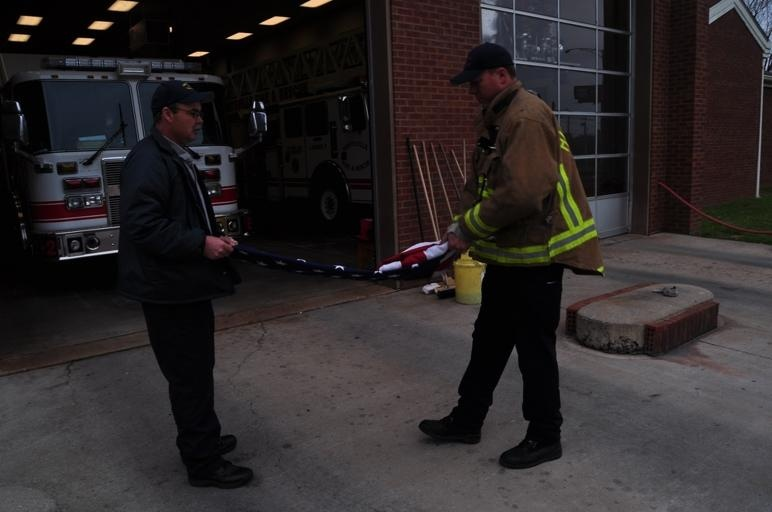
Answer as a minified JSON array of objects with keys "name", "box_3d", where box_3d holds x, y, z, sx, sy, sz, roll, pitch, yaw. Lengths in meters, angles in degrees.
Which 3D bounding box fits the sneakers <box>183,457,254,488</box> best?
[{"name":"sneakers","box_3d":[-1.213,1.585,3.765,0.442,0.182,0.201,0,7,-7]}]

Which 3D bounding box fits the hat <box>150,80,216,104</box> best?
[{"name":"hat","box_3d":[-1.424,-1.149,3.648,0.373,0.128,0.243,-2,20,-9]}]

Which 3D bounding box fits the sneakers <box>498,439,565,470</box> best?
[{"name":"sneakers","box_3d":[1.082,1.468,3.914,0.475,0.190,0.196,-2,8,-11]}]

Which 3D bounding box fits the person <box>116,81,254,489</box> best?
[{"name":"person","box_3d":[-1.420,0.244,3.661,0.727,2.873,0.747,-13,17,-36]}]

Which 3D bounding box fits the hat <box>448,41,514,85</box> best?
[{"name":"hat","box_3d":[0.710,-1.395,3.800,0.443,0.219,0.278,-18,31,0]}]

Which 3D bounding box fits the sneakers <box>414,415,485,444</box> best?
[{"name":"sneakers","box_3d":[0.511,1.405,4.134,0.513,0.224,0.213,10,-1,8]}]

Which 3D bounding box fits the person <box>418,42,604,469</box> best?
[{"name":"person","box_3d":[0.956,0.025,3.771,1.084,3.060,0.635,3,15,21]}]

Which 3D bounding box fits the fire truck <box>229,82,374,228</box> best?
[{"name":"fire truck","box_3d":[-1.749,-2.817,14.905,2.603,3.334,6.829,-13,16,-39]}]
